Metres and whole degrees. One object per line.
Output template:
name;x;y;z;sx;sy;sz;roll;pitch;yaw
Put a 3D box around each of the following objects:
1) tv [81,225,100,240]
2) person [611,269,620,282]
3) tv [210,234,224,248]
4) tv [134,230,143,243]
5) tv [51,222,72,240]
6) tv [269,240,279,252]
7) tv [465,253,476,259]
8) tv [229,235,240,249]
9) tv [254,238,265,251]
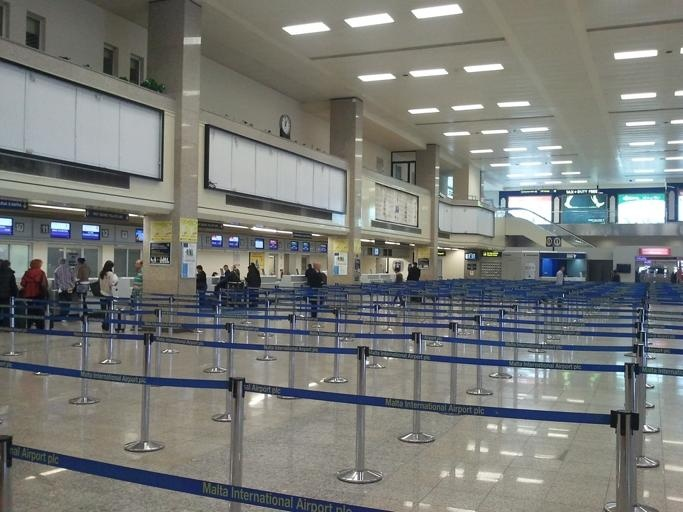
tv;-8.227;-0.781;19.885;0.148;0.504;0.700;0;-3;20
person;17.512;1.206;38.909;0.475;0.659;1.278;-1;-3;24
tv;-5.143;-0.618;24.872;0.134;0.552;0.804;0;-3;20
tv;-7.290;-0.713;21.681;0.058;0.446;0.454;-5;-7;24
tv;-8.732;-0.796;18.842;0.373;0.513;0.720;-2;0;20
tv;-3.211;-0.476;28.163;0.070;0.369;0.511;-3;-5;27
tv;8.441;0.013;40.060;0.943;0.409;0.247;3;-3;-35
tv;-4.609;-0.585;25.847;0.097;0.562;0.761;-1;-3;23
tv;-3.760;-0.534;27.267;0.067;0.463;0.519;-9;-10;31
